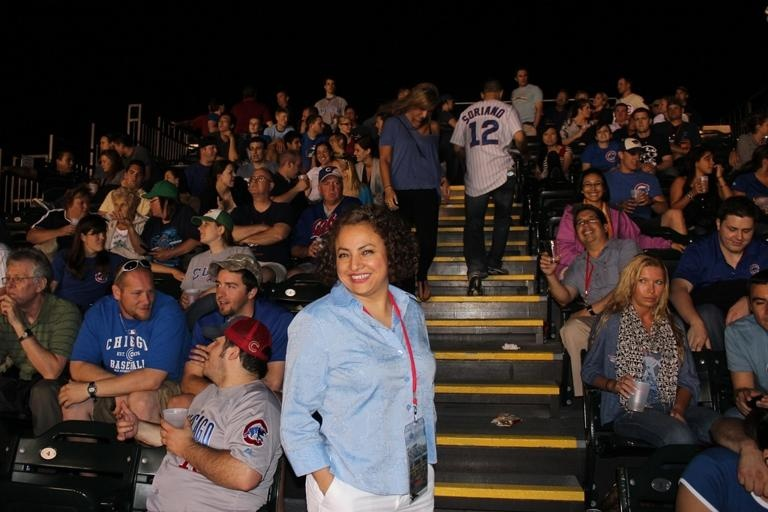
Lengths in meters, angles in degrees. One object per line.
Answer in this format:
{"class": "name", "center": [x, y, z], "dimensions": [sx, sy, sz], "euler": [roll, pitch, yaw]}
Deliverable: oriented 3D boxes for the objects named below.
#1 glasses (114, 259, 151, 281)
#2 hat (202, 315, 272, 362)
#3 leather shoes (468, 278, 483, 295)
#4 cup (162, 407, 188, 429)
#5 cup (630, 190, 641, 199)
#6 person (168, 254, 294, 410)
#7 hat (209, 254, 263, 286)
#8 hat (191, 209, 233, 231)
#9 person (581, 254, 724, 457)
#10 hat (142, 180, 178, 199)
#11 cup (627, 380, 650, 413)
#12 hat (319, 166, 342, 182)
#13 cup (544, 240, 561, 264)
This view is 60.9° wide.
{"class": "glasses", "center": [-2.421, 0.114, 6.316], "dimensions": [0.222, 0.071, 0.248], "euler": [-3, -32, -41]}
{"class": "hat", "center": [-1.125, 0.658, 5.151], "dimensions": [0.414, 0.232, 0.286], "euler": [26, 7, 17]}
{"class": "leather shoes", "center": [1.200, 0.409, 8.623], "dimensions": [0.161, 0.226, 0.235], "euler": [1, -13, 2]}
{"class": "cup", "center": [-1.625, 1.270, 5.125], "dimensions": [0.160, 0.122, 0.163], "euler": [-4, -11, -1]}
{"class": "cup", "center": [3.625, -0.878, 9.481], "dimensions": [0.119, 0.154, 0.061], "euler": [5, -12, 13]}
{"class": "person", "center": [-1.402, 0.657, 6.543], "dimensions": [1.089, 1.484, 1.484], "euler": [0, -1, 24]}
{"class": "hat", "center": [-1.415, 0.075, 6.380], "dimensions": [0.300, 0.223, 0.411], "euler": [-22, -45, 40]}
{"class": "hat", "center": [-2.042, -0.395, 7.819], "dimensions": [0.482, 0.262, 0.284], "euler": [9, -3, -14]}
{"class": "person", "center": [2.460, 0.852, 6.182], "dimensions": [1.148, 1.745, 0.784], "euler": [-1, -2, 14]}
{"class": "hat", "center": [-3.211, -0.956, 9.421], "dimensions": [0.390, 0.199, 0.240], "euler": [-4, 10, -21]}
{"class": "cup", "center": [2.269, 1.260, 5.869], "dimensions": [0.192, 0.295, 0.133], "euler": [0, -2, -25]}
{"class": "hat", "center": [-0.720, -1.107, 8.782], "dimensions": [0.278, 0.288, 0.514], "euler": [0, -3, -5]}
{"class": "cup", "center": [1.751, -0.053, 6.844], "dimensions": [0.126, 0.230, 0.202], "euler": [-1, -2, 15]}
